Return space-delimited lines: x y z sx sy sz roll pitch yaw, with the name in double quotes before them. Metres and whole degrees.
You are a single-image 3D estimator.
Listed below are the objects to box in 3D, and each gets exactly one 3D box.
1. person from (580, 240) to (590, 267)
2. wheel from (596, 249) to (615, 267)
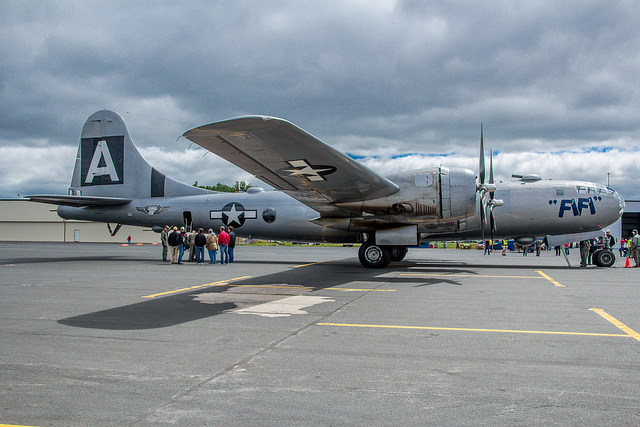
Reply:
"person" 12.696 1.887 25.602 0.397 1.241 0.516 -3 -2 23
"wheel" 13.120 2.051 24.658 1.105 0.754 0.349 -9 -4 1
